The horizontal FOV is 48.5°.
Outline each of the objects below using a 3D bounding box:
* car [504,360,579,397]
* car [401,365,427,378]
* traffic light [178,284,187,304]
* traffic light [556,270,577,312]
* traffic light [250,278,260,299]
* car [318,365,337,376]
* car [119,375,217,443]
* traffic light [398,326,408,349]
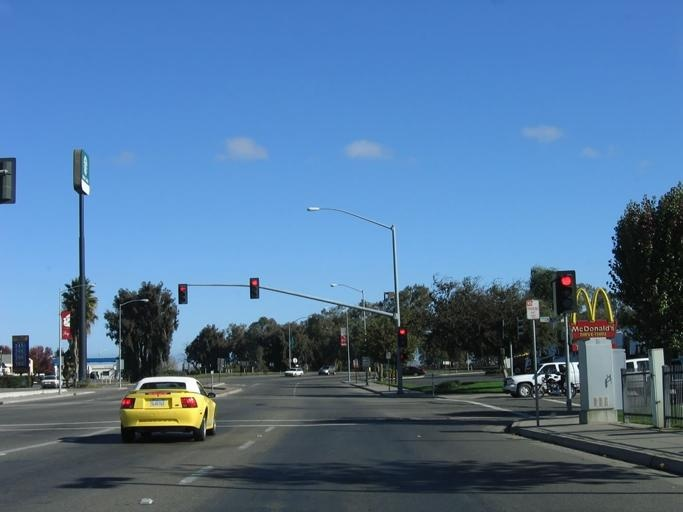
[{"bbox_3d":[10.412,6.451,39.736,3.445,1.883,2.223,0,-12,-11],"label":"car"},{"bbox_3d":[8.842,14.140,93.311,1.670,1.630,5.366,0,-13,-13],"label":"car"},{"bbox_3d":[-9.189,2.192,43.846,0.406,1.075,0.471,2,-10,-23],"label":"traffic light"},{"bbox_3d":[6.949,1.073,23.535,0.611,1.318,0.907,-5,-10,17],"label":"traffic light"},{"bbox_3d":[-4.844,1.796,42.328,0.390,1.079,0.262,4,-10,-31],"label":"traffic light"},{"bbox_3d":[-2.219,18.305,120.731,1.235,1.363,2.750,-6,-18,18],"label":"car"},{"bbox_3d":[-4.864,4.296,21.266,2.496,1.815,1.523,2,-11,-20],"label":"car"},{"bbox_3d":[3.624,4.850,45.397,0.469,1.151,0.537,-2,-9,1],"label":"traffic light"}]
